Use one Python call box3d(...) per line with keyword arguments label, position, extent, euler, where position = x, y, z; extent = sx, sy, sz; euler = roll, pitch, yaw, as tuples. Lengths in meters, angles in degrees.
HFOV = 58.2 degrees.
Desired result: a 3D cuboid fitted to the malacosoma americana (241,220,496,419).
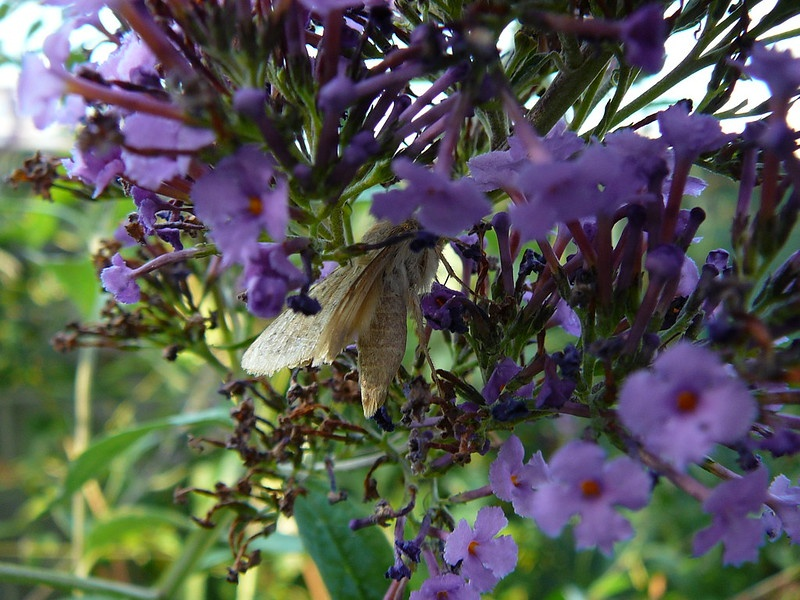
box3d(label="malacosoma americana", position=(-0.141, 0.023, 1.913), extent=(0.358, 0.369, 0.679), euler=(3, 90, -25))
